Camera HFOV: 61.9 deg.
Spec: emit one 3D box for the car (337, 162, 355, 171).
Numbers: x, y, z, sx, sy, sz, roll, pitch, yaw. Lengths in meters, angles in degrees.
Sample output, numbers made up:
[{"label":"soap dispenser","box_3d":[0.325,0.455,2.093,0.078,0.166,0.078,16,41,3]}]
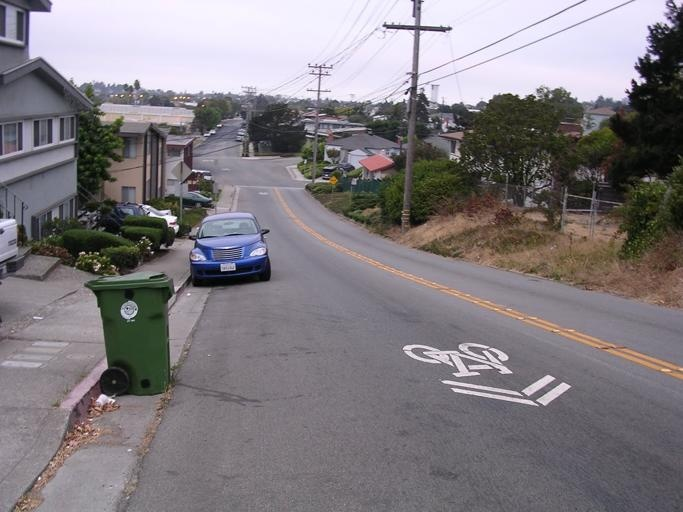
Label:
[{"label":"car","box_3d":[0.809,-14.858,94.820,3.343,1.606,4.436,0,8,-1]}]
